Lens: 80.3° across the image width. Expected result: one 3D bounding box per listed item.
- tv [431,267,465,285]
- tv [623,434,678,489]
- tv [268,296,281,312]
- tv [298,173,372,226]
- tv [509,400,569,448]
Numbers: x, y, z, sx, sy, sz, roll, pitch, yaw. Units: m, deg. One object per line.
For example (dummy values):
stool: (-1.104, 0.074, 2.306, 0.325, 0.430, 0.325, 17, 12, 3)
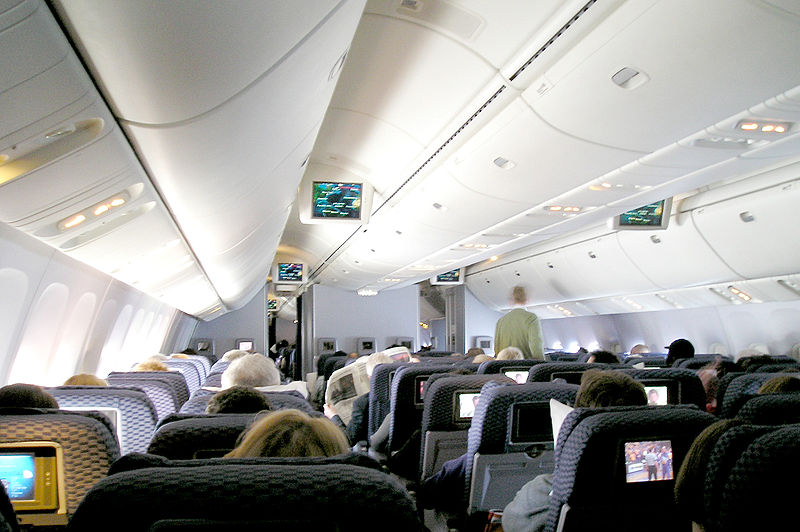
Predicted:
tv: (1.640, 0.326, 16.454, 0.910, 0.606, 0.112, -2, 6, -18)
tv: (1.103, 0.857, 2.103, 0.318, 0.247, 0.096, -5, 4, -19)
tv: (-7.492, 2.146, 28.133, 0.836, 0.950, 1.469, -3, 6, -20)
tv: (-1.061, -1.134, 7.936, 1.006, 0.572, 0.141, 1, 10, 2)
tv: (0.904, 1.038, 3.022, 0.418, 0.381, 0.131, 1, 5, -10)
